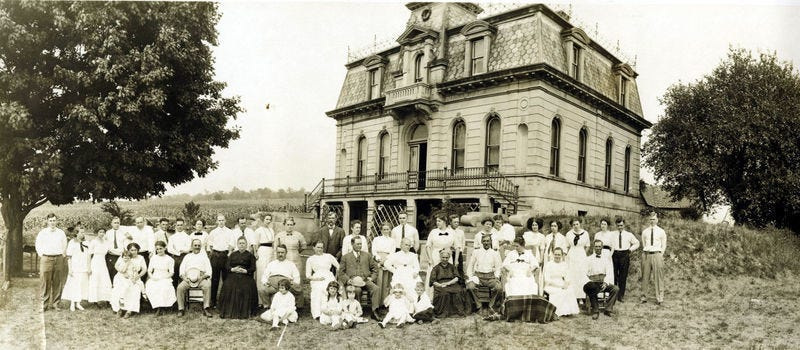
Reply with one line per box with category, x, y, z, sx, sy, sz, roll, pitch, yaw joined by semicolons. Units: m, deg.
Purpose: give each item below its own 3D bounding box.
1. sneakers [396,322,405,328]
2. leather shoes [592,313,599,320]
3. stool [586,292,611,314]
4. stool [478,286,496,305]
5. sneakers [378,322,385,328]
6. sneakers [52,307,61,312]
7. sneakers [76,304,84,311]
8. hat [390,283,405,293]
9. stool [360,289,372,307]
sneakers;0.027;7.327;33.775;0.419;0.147;0.173;-37;17;2
leather shoes;9.637;6.924;34.134;0.229;0.227;0.596;-4;-16;12
stool;9.920;6.293;34.682;1.498;1.153;0.989;0;4;5
stool;4.355;5.926;34.570;0.884;0.729;0.827;0;-5;1
sneakers;-0.909;7.299;33.802;0.178;0.335;0.249;-35;-15;29
sneakers;-17.479;6.760;35.112;0.544;0.195;0.177;-3;-1;28
sneakers;-16.404;6.701;35.272;0.633;0.230;0.211;-4;6;42
hat;-0.112;5.501;33.957;0.442;0.420;0.537;1;-20;-5
stool;-1.851;6.096;34.733;0.733;0.747;1.178;-1;-4;8
